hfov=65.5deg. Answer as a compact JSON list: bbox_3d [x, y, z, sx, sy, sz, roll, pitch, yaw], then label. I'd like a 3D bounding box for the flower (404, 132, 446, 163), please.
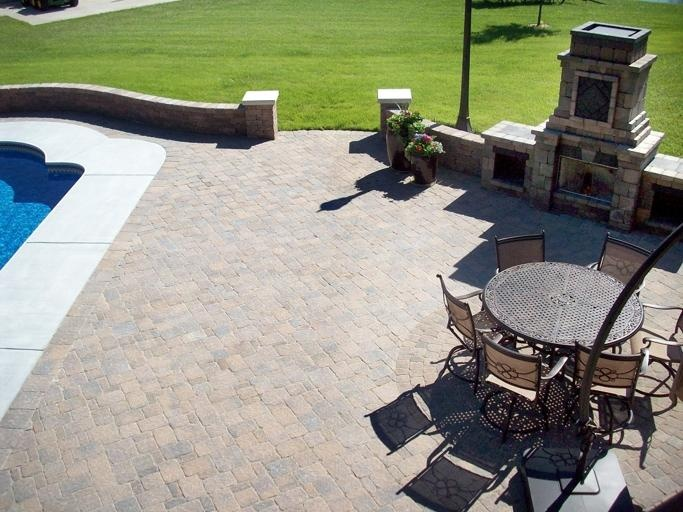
[{"bbox_3d":[1.741,-2.292,11.447,0.771,0.449,0.626,-2,30,-3],"label":"flower"}]

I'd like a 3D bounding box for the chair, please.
[{"bbox_3d":[3.247,1.134,7.844,3.072,1.441,2.688,-20,50,-5],"label":"chair"}]

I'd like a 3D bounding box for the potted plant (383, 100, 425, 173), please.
[{"bbox_3d":[1.534,-2.524,12.200,0.984,1.091,0.895,-7,16,-35],"label":"potted plant"}]
